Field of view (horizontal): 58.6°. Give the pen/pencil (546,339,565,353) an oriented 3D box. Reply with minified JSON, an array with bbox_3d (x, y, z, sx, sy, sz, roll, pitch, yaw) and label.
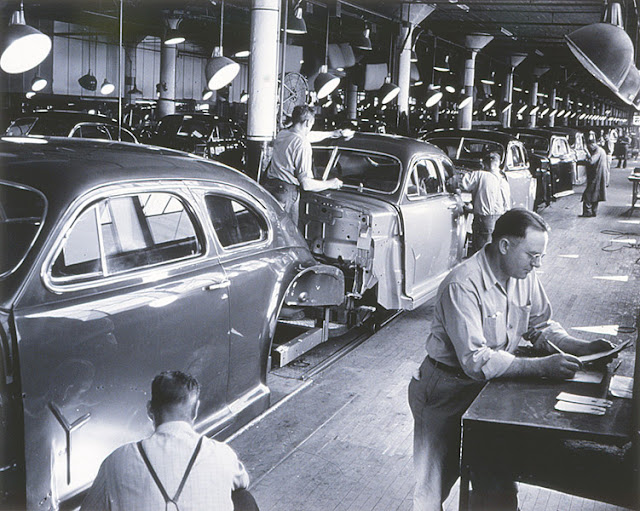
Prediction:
[{"bbox_3d":[1.405,0.541,3.404,0.012,0.012,0.099,2,48,-41],"label":"pen/pencil"}]

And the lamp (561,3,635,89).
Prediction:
[{"bbox_3d":[2.208,-1.583,4.535,0.486,0.540,0.251,9,14,36],"label":"lamp"}]
